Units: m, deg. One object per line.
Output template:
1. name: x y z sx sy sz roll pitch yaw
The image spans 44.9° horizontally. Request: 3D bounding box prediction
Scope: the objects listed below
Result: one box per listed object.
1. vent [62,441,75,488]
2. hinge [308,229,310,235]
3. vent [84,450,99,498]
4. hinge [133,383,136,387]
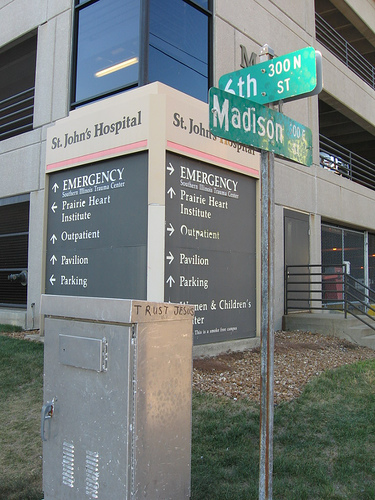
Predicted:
1. vent: -0.541 0.978 2.063 0.101 0.171 0.014 11 5 43
2. hinge: 3.384 -0.504 12.656 0.034 0.169 0.122 8 2 31
3. vent: -0.407 0.960 1.941 0.099 0.165 0.011 11 5 41
4. hinge: -0.213 0.550 1.835 0.006 0.015 0.006 2 0 -42
